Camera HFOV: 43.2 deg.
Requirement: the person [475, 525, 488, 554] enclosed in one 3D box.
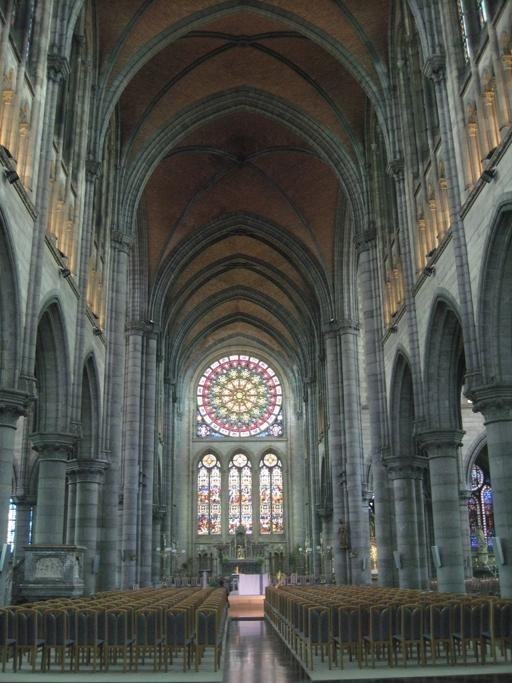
[{"bbox_3d":[12.283,10.868,35.410,0.542,1.216,1.333,-9,-20,18],"label":"person"}]
